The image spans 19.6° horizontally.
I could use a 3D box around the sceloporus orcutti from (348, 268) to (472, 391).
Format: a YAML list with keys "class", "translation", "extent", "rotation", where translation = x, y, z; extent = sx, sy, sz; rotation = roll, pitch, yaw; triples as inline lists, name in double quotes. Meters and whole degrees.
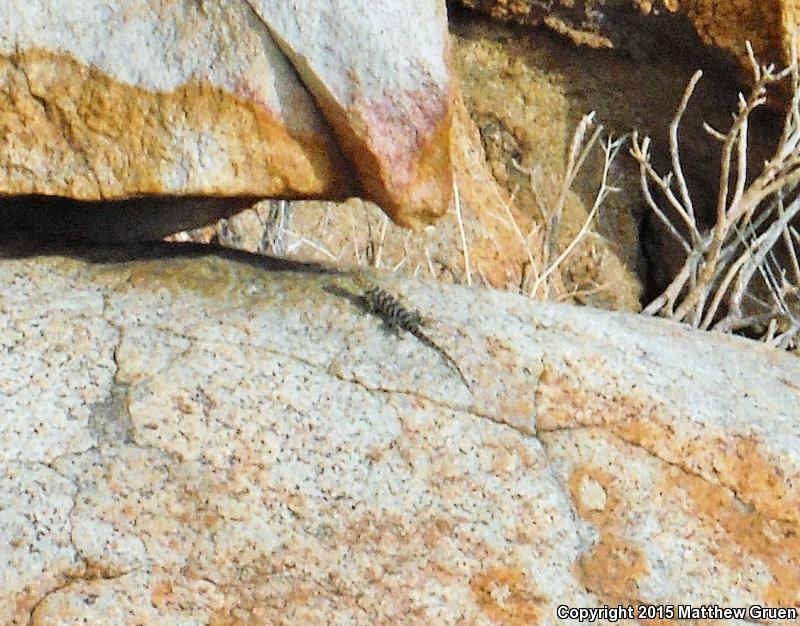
- class: "sceloporus orcutti"
  translation: [-0.014, 0.005, 9.050]
  extent: [0.834, 0.198, 0.099]
  rotation: [48, 11, 33]
